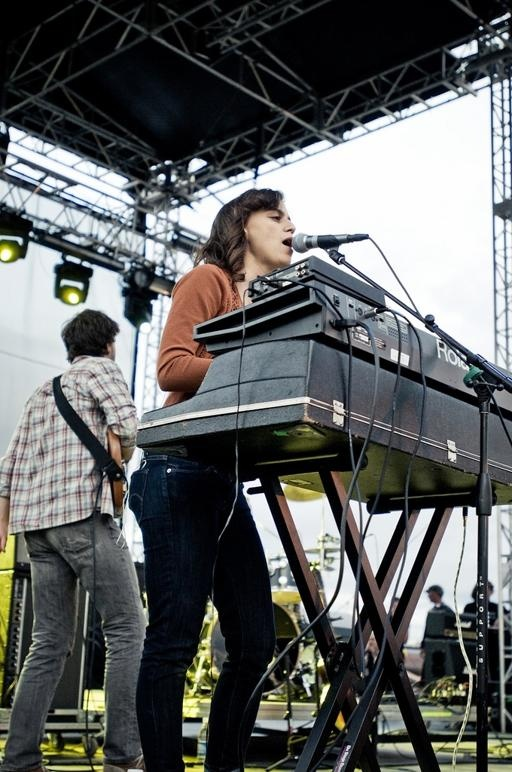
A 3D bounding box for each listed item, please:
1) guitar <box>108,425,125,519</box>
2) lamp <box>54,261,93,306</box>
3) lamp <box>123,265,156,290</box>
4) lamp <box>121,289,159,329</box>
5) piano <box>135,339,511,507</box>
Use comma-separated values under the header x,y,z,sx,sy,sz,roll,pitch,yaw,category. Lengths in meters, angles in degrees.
x,y,z,sx,sy,sz,roll,pitch,yaw,category
-0.444,0.292,3.528,0.061,0.220,0.146,-4,-3,-5,guitar
-1.761,-0.979,10.514,0.308,0.433,0.107,1,6,-26,lamp
-1.131,-1.066,10.673,0.226,0.244,0.090,1,2,7,lamp
-1.157,-0.712,10.915,0.318,0.485,0.337,10,-14,-30,lamp
0.218,0.107,2.790,0.943,0.324,0.516,10,-9,-39,piano
